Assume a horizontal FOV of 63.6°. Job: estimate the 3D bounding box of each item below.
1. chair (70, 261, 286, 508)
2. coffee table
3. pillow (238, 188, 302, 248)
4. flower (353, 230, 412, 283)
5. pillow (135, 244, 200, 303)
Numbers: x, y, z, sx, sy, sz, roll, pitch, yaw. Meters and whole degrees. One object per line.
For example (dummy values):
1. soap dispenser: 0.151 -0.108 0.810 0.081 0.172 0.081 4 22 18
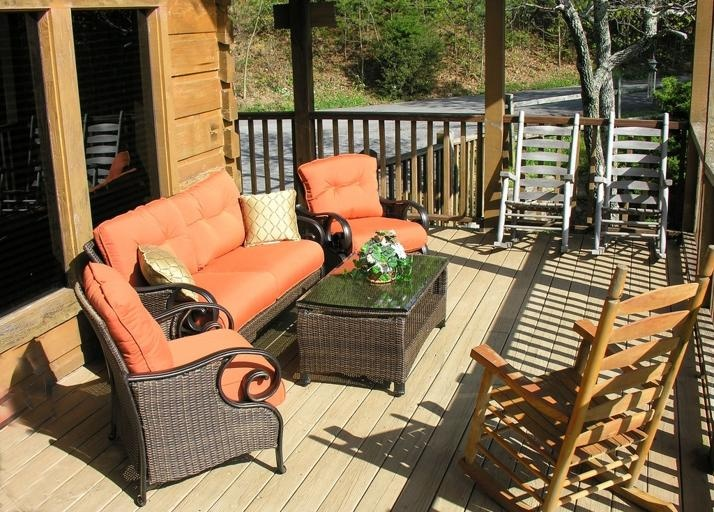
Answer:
1. chair: -0.968 0.625 3.286 1.001 1.274 0.811 -10 23 -24
2. coffee table: 0.060 0.201 4.136 0.779 0.574 1.318 2 14 17
3. pillow: -0.835 -0.295 5.222 0.521 0.524 0.500 -2 -24 -21
4. flower: 0.192 0.000 4.420 0.381 0.297 0.391 -3 18 -7
5. pillow: -1.309 0.098 3.962 0.412 0.125 0.389 47 4 -2
